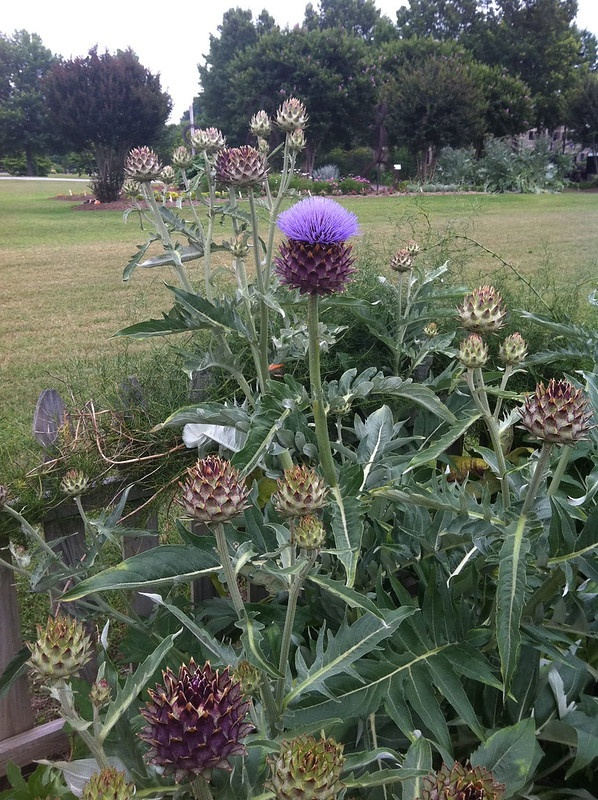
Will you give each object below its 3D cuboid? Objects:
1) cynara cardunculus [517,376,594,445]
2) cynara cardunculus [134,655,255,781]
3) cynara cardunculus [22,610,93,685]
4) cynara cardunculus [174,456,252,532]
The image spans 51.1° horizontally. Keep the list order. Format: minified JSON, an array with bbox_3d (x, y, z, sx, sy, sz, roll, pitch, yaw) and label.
[{"bbox_3d":[0.512,0.022,1.220,0.147,0.134,0.118,-2,12,-18],"label":"cynara cardunculus"},{"bbox_3d":[-0.116,0.375,0.694,0.111,0.153,0.121,7,20,7],"label":"cynara cardunculus"},{"bbox_3d":[-0.372,0.390,0.956,0.096,0.112,0.091,-2,13,-42],"label":"cynara cardunculus"},{"bbox_3d":[-0.130,0.160,1.045,0.114,0.114,0.113,-23,31,-33],"label":"cynara cardunculus"}]
